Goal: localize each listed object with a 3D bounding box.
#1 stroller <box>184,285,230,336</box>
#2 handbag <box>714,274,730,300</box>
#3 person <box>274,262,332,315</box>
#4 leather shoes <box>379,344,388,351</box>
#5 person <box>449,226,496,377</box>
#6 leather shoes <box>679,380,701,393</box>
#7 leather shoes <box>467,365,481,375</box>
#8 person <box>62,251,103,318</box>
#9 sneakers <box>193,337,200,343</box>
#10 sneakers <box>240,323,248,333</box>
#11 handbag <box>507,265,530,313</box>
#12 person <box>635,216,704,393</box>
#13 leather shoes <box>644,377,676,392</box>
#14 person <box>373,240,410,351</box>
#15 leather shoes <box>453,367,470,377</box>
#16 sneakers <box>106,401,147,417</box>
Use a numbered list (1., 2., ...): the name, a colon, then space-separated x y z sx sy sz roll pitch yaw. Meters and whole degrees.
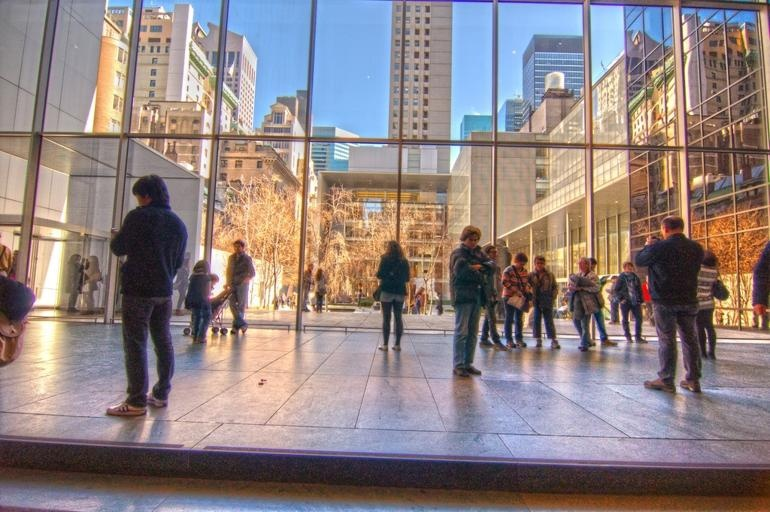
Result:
1. stroller: -4.029 1.341 13.849 1.205 1.417 0.946 9 -13 -37
2. handbag: 6.432 0.621 11.005 0.109 0.434 0.313 4 -9 -27
3. person: -2.220 0.899 15.655 0.763 1.436 1.051 10 15 36
4. leather shoes: -0.041 2.005 12.551 0.120 0.119 0.330 1 1 -4
5. person: 1.506 0.867 10.386 0.751 2.685 0.942 3 12 10
6. leather shoes: 5.188 2.215 9.841 0.145 0.239 0.352 -2 4 0
7. leather shoes: 1.577 2.089 10.427 0.291 0.121 0.108 0 -6 14
8. person: -8.394 0.768 16.003 1.347 1.585 0.593 8 14 30
9. sneakers: -4.214 1.889 12.837 0.110 0.124 0.111 -6 -4 -10
10. sneakers: -3.490 1.819 14.260 0.098 0.297 0.125 0 38 -19
11. handbag: 3.053 0.737 13.377 0.655 1.017 0.543 4 13 14
12. person: 4.993 0.817 10.151 1.079 3.014 0.930 -1 -3 13
13. leather shoes: 4.626 2.170 9.755 0.393 0.172 0.196 5 0 34
14. person: 0.134 0.917 12.545 0.708 2.482 0.892 1 12 0
15. leather shoes: 1.349 2.068 10.270 0.268 0.133 0.206 2 13 6
16. sneakers: -3.794 2.238 8.482 0.492 0.215 0.239 8 -10 -1
